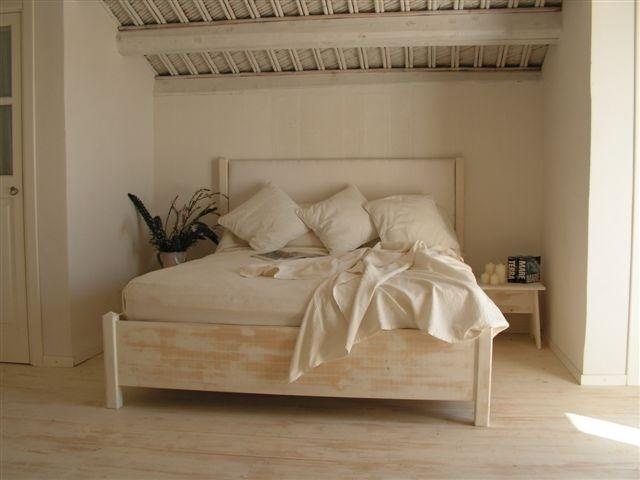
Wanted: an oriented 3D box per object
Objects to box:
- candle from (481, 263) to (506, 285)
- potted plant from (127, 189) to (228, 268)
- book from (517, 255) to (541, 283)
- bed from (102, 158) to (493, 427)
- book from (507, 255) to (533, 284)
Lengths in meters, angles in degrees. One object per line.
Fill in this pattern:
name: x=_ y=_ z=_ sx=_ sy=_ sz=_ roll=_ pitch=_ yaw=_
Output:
candle: x=1.425 y=0.275 z=4.773 sx=0.208 sy=0.198 sz=0.174 roll=-3 pitch=-6 yaw=42
potted plant: x=-1.222 y=-0.066 z=5.135 sx=0.538 sy=0.645 sz=0.889 roll=9 pitch=12 yaw=9
book: x=1.707 y=0.233 z=4.706 sx=0.219 sy=0.194 sz=0.131 roll=-4 pitch=6 yaw=-34
bed: x=0.031 y=0.361 z=4.330 sx=2.297 sy=1.274 sz=2.249 roll=0 pitch=1 yaw=12
book: x=1.645 y=0.222 z=4.716 sx=0.187 sy=0.231 sz=0.254 roll=0 pitch=0 yaw=22
